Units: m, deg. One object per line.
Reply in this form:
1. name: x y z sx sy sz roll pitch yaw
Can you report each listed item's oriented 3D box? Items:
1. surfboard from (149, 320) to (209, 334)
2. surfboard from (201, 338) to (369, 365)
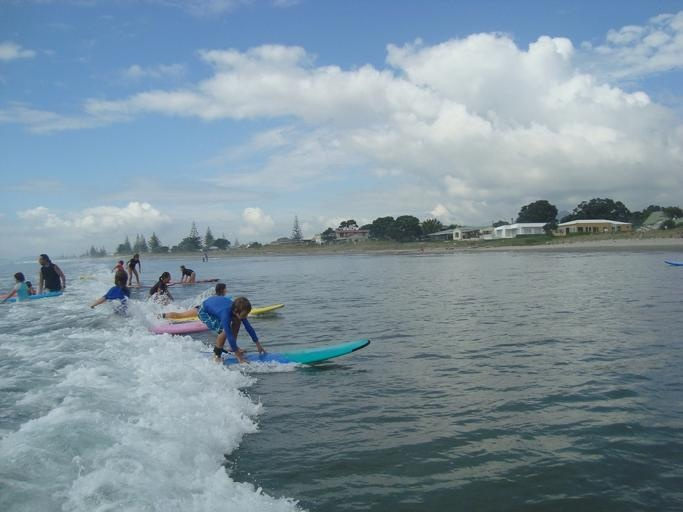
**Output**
1. surfboard: -5.085 2.250 16.320 1.119 0.203 0.994 1 -1 8
2. surfboard: -1.305 2.354 12.627 3.454 0.285 0.655 -2 5 -10
